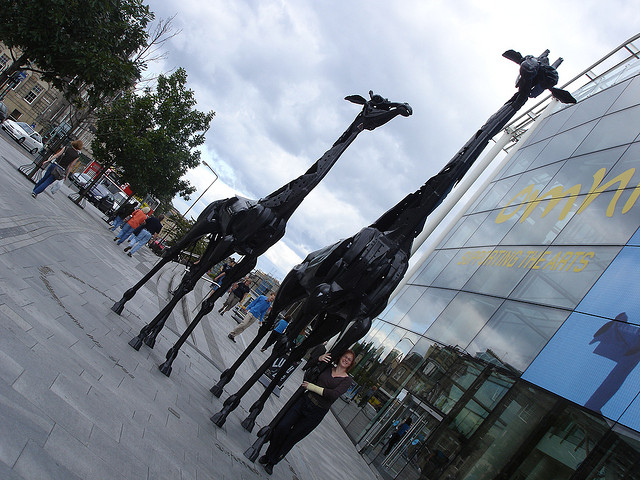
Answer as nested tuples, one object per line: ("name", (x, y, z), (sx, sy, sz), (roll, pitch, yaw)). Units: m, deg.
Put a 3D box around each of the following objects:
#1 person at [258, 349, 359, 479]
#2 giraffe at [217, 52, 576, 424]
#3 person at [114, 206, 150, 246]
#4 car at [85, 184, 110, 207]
("person", (-0.196, 2.719, 6.382), (0.650, 2.059, 1.425), (34, -11, 9))
("giraffe", (1.149, -0.124, 6.274), (1.952, 6.378, 0.962), (31, -11, 27))
("person", (-6.906, -0.271, 14.490), (1.020, 1.774, 0.452), (50, 19, 15))
("car", (-13.359, -2.609, 23.518), (0.932, 0.931, 3.288), (44, -10, -27))
